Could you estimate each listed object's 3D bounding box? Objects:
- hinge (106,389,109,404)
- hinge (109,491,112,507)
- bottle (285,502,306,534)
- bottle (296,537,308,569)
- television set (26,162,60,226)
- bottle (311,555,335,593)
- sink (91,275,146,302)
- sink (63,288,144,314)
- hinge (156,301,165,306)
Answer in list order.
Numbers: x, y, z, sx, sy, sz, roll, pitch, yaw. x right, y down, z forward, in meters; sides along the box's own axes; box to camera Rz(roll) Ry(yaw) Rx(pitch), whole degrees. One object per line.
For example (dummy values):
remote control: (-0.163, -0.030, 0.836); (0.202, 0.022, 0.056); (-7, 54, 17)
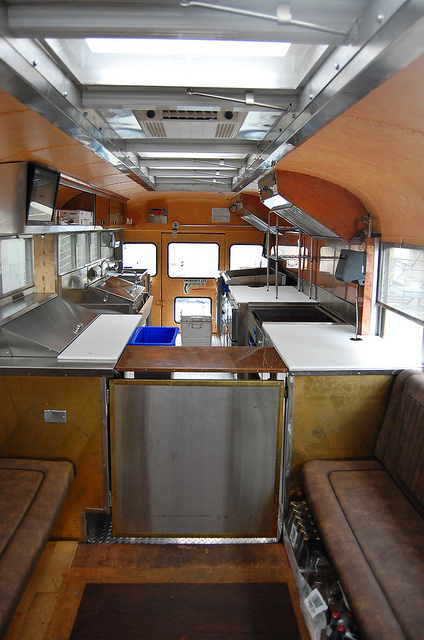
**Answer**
hinge: (-0.509, 0.378, 2.055); (0.007, 0.072, 0.016); (7, 9, 40)
hinge: (-0.521, 0.931, 2.169); (0.012, 0.093, 0.028); (-1, 7, -17)
bottle: (0.383, 0.961, 2.006); (0.039, 0.134, 0.131); (17, 16, 25)
bottle: (0.371, 0.979, 1.723); (0.039, 0.107, 0.140); (2, 7, 11)
television set: (-1.023, -0.766, 2.629); (0.023, 0.374, 0.584); (3, 13, -44)
bottle: (0.414, 0.961, 1.569); (0.125, 0.038, 0.141); (-24, 19, 31)
sink: (-1.114, -0.396, 5.075); (0.337, 0.176, 0.523); (14, 18, -7)
sink: (-1.164, -0.206, 4.345); (0.738, 0.274, 0.302); (-2, 8, -28)
hinge: (-0.925, -0.308, 7.569); (0.145, 0.084, 0.046); (0, 7, -9)
